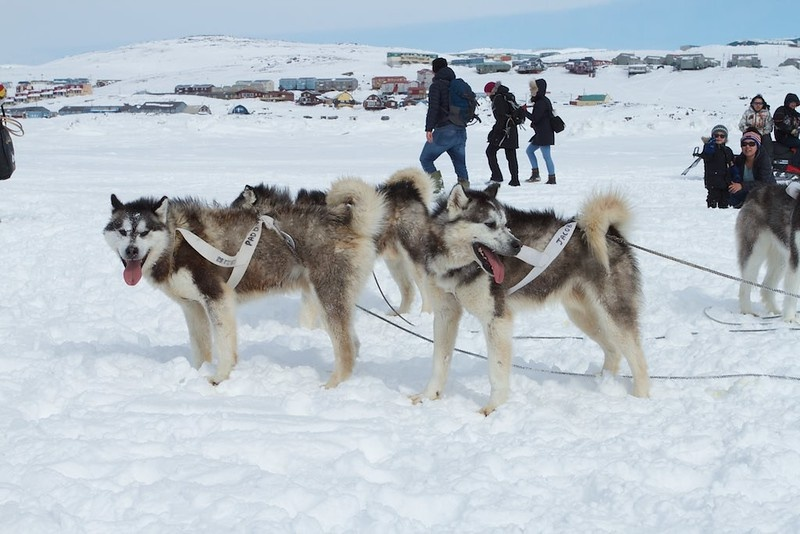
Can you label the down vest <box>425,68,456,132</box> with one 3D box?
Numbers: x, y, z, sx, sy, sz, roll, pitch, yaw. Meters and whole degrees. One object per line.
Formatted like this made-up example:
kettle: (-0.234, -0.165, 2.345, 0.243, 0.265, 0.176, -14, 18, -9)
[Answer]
down vest: (0.669, -2.853, 15.185, 0.355, 0.991, 0.750, 16, 15, 33)
